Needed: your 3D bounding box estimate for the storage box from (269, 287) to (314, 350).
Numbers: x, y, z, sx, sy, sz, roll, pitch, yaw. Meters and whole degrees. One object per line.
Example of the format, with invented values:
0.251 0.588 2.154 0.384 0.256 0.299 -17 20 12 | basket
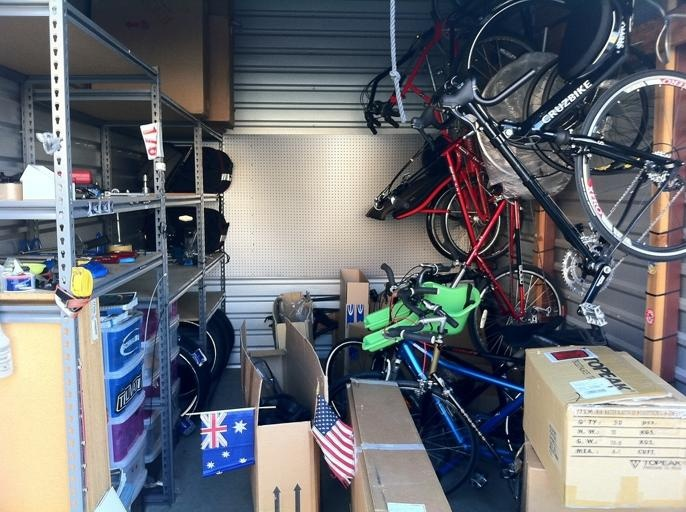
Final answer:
-0.381 0.560 4.973 0.313 0.588 0.609 1 -14 11 | storage box
